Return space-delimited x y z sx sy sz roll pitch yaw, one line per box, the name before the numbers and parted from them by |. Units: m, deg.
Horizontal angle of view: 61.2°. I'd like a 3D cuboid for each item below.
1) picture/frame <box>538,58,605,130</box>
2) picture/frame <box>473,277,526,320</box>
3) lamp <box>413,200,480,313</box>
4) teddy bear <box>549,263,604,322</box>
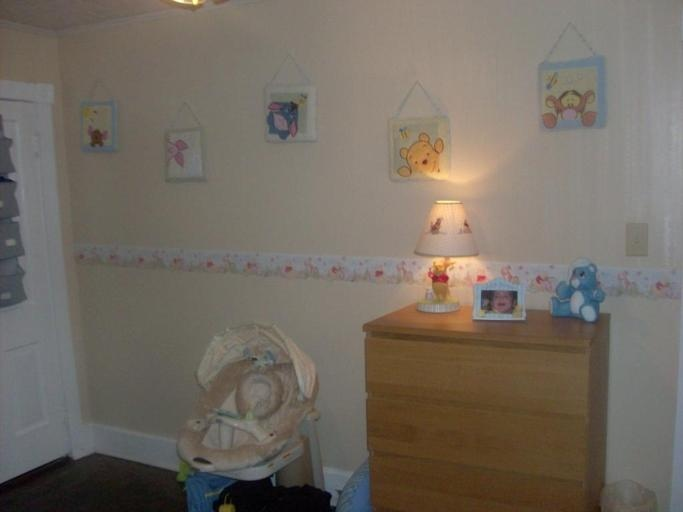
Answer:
picture/frame | 1.099 -0.772 2.727 0.308 0.355 0.015 3 8 24
picture/frame | 0.714 0.200 2.620 0.168 0.151 0.015 0 5 9
lamp | 0.513 -0.010 2.856 0.293 0.536 0.302 0 5 9
teddy bear | 1.088 0.155 2.642 0.191 0.283 0.225 -3 8 -41
